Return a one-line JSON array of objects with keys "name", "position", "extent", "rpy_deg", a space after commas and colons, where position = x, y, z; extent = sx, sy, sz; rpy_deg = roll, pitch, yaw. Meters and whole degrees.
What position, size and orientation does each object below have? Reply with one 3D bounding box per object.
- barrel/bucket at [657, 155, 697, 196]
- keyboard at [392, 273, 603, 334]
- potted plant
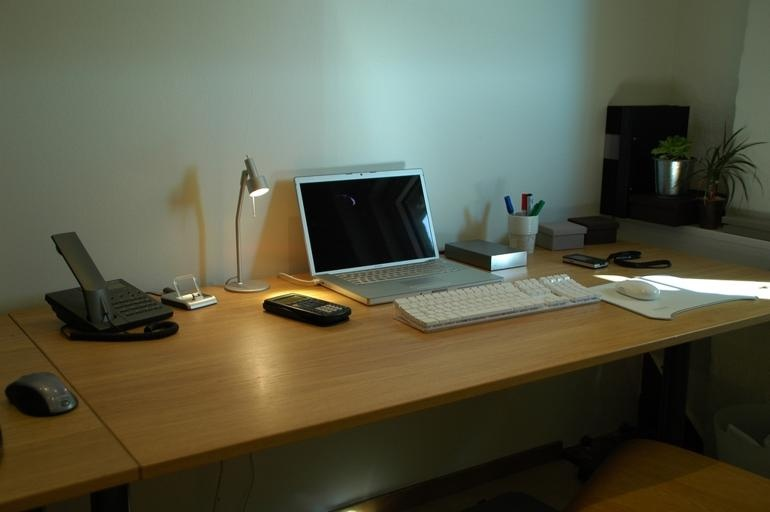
[{"name": "barrel/bucket", "position": [1.220, -0.334, 2.325], "extent": [0.161, 0.119, 0.162], "rpy_deg": [-1, 9, 0]}, {"name": "keyboard", "position": [0.334, 0.149, 1.668], "extent": [0.605, 0.043, 0.320], "rpy_deg": [-3, 11, -25]}, {"name": "potted plant", "position": [1.338, -0.350, 2.303], "extent": [0.414, 0.361, 0.434], "rpy_deg": [-10, 16, -35]}]
